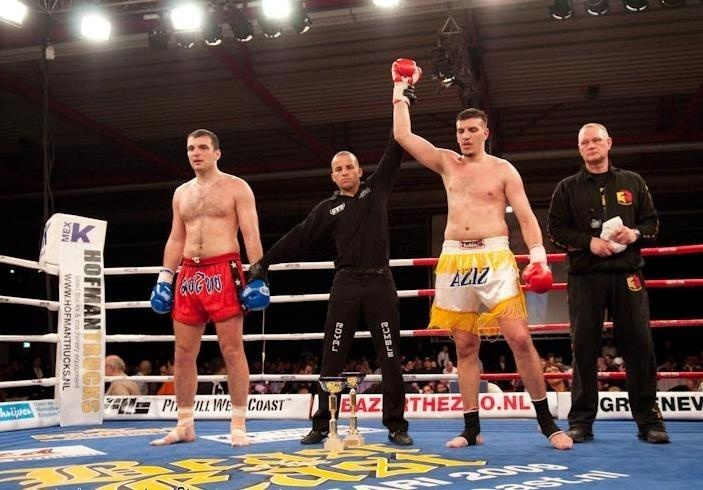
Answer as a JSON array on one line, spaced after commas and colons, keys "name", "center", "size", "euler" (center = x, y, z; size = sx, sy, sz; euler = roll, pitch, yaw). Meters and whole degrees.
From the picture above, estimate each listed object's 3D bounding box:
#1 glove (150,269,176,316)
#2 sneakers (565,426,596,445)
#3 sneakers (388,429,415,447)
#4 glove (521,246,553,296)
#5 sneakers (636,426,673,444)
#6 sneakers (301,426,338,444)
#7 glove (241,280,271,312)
[{"name": "glove", "center": [-1.461, 0.365, 5.225], "size": [0.242, 0.320, 0.150], "euler": [-2, -6, -37]}, {"name": "sneakers", "center": [1.618, 1.343, 4.797], "size": [0.086, 0.091, 0.234], "euler": [-10, -21, 43]}, {"name": "sneakers", "center": [0.339, 1.368, 4.802], "size": [0.070, 0.088, 0.195], "euler": [4, -14, -36]}, {"name": "glove", "center": [1.272, 0.154, 4.728], "size": [0.226, 0.415, 0.151], "euler": [0, -58, 5]}, {"name": "sneakers", "center": [2.110, 1.343, 4.743], "size": [0.090, 0.080, 0.196], "euler": [1, -13, -5]}, {"name": "sneakers", "center": [-0.258, 1.382, 4.901], "size": [0.219, 0.104, 0.093], "euler": [9, -19, -41]}, {"name": "glove", "center": [-0.710, 0.369, 5.003], "size": [0.212, 0.220, 0.168], "euler": [-1, -15, -9]}]
